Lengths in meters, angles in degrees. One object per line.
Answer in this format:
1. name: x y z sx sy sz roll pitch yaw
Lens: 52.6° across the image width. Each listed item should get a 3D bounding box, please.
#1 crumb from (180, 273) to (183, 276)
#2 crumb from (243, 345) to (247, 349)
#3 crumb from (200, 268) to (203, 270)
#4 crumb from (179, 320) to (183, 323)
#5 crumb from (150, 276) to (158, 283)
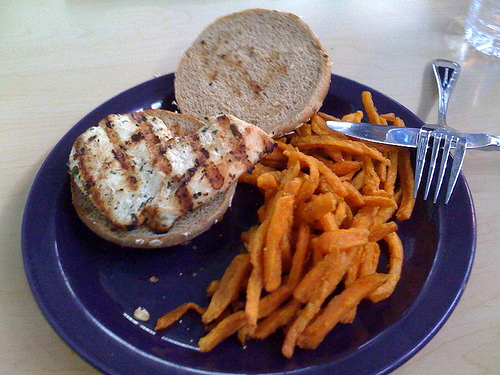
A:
1. crumb: -0.388 0.485 2.834 0.011 0.003 0.011 26 44 27
2. crumb: -0.027 0.827 2.619 0.018 0.005 0.017 2 71 2
3. crumb: -0.275 0.460 2.853 0.014 0.003 0.013 0 36 -5
4. crumb: -0.371 0.716 2.701 0.016 0.004 0.015 7 25 2
5. crumb: -0.532 0.512 2.809 0.022 0.030 0.028 21 82 34
